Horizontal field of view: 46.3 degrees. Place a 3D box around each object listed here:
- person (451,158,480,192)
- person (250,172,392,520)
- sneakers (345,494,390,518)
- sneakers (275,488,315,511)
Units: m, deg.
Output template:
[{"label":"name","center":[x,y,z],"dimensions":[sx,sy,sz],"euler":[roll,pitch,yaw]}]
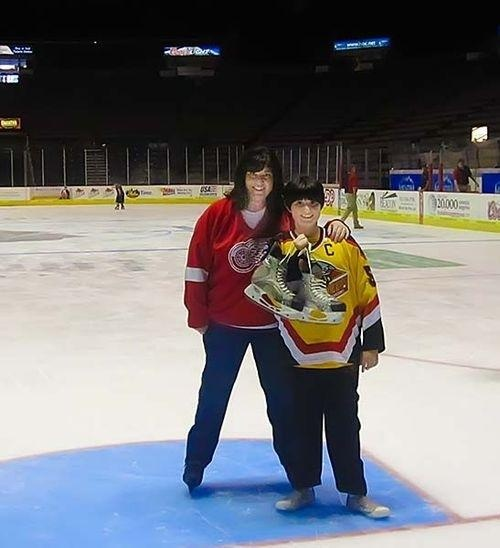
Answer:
[{"label":"person","center":[8.225,-3.731,22.334],"dimensions":[0.886,1.318,2.562],"euler":[3,6,20]},{"label":"person","center":[0.283,0.316,2.441],"dimensions":[0.601,1.427,0.398],"euler":[1,7,0]},{"label":"sneakers","center":[0.477,0.966,2.442],"dimensions":[0.067,0.066,0.190],"euler":[-2,-3,-36]},{"label":"sneakers","center":[0.181,0.982,2.576],"dimensions":[0.174,0.131,0.072],"euler":[5,-1,-22]}]
